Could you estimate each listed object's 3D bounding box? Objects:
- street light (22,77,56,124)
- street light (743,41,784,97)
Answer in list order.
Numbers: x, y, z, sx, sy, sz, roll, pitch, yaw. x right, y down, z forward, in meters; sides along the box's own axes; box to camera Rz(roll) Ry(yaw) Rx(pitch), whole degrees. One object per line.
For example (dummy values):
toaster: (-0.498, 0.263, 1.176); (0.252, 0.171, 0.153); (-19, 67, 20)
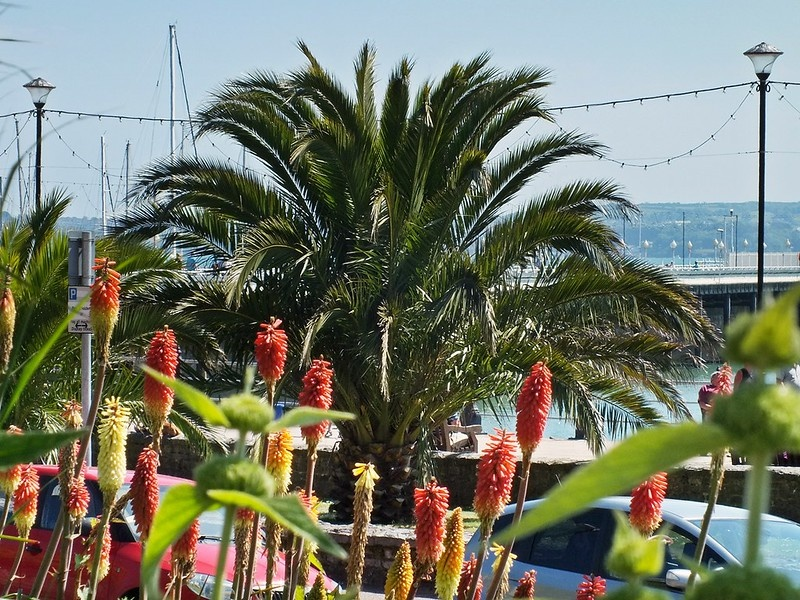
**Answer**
street light: (-5.416, -2.923, 20.178); (0.409, 0.861, 0.413); (-3, 9, -40)
street light: (5.359, -3.274, 19.893); (0.526, 1.076, 0.587); (3, 7, 28)
